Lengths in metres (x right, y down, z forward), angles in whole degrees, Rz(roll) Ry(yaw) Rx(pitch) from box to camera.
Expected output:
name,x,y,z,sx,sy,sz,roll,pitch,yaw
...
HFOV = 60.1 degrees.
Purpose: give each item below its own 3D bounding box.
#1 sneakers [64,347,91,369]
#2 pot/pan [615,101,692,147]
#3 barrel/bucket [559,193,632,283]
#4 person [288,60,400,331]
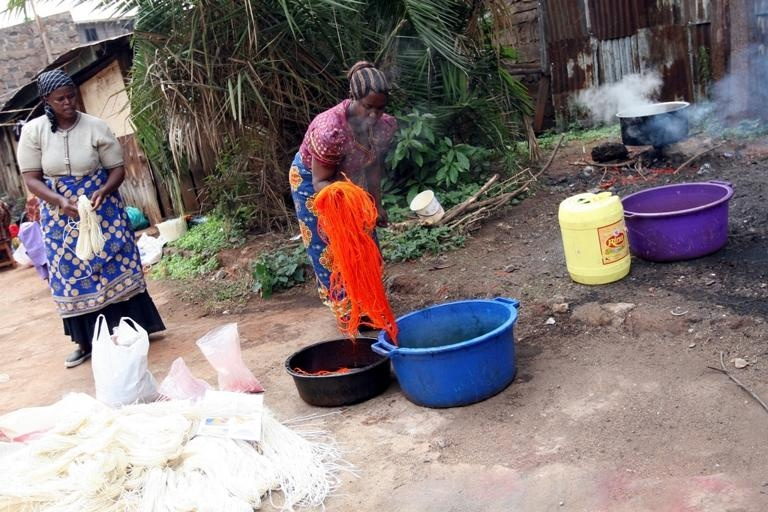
name,x,y,z,sx,sy,sz,roll,pitch,yaw
sneakers,-2.861,0.954,6.250,0.120,0.107,0.296,3,8,19
pot/pan,3.080,-1.464,7.745,0.649,0.297,0.679,-20,19,-18
barrel/bucket,1.714,-0.151,5.458,0.580,0.630,0.560,-11,14,3
person,-0.258,-0.495,5.191,0.945,1.881,0.562,-14,17,1
